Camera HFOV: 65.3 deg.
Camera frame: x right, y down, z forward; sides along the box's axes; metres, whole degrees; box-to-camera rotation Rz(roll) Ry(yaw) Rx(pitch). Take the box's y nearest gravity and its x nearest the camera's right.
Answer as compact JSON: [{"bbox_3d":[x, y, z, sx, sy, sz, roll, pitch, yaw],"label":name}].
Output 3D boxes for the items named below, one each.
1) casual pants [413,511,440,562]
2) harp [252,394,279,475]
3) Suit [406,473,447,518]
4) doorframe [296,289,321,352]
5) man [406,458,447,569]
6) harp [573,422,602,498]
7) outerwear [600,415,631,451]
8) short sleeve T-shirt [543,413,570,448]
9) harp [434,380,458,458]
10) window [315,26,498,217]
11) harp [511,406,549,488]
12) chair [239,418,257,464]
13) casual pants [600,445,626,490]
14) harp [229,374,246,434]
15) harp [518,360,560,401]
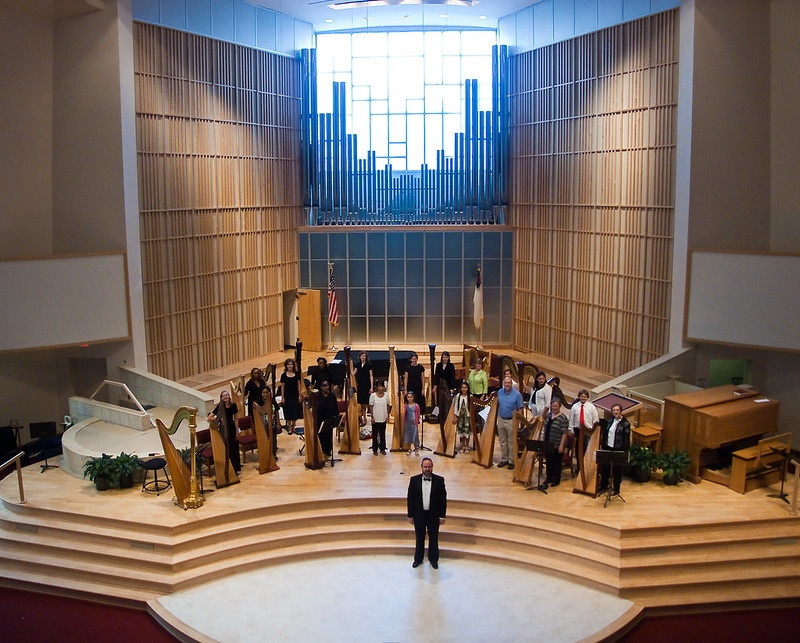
[{"bbox_3d":[0.381,2.946,8.705,0.362,1.290,0.308,2,26,0],"label":"casual pants"},{"bbox_3d":[-2.234,1.806,10.453,0.403,1.502,0.430,-8,20,-30],"label":"harp"},{"bbox_3d":[0.362,2.371,8.456,0.492,0.660,0.220,0,2,-6],"label":"Suit"},{"bbox_3d":[-2.659,-0.012,18.094,0.696,1.766,0.256,0,2,5],"label":"doorframe"},{"bbox_3d":[0.361,2.628,8.603,0.462,1.690,0.420,0,14,5],"label":"man"},{"bbox_3d":[2.921,2.153,9.721,0.389,1.098,0.300,1,2,30],"label":"harp"},{"bbox_3d":[3.287,1.722,9.530,0.293,0.640,0.493,12,-11,-41],"label":"outerwear"},{"bbox_3d":[2.444,1.716,9.742,0.239,0.501,0.423,2,1,-45],"label":"short sleeve T-shirt"},{"bbox_3d":[0.848,1.669,11.042,0.410,1.441,0.473,0,0,-11],"label":"harp"},{"bbox_3d":[0.284,-5.929,17.779,4.013,4.761,0.376,0,4,2],"label":"window"},{"bbox_3d":[2.052,2.080,10.113,0.569,1.209,0.581,11,-12,-35],"label":"harp"},{"bbox_3d":[-2.639,2.034,10.916,0.299,0.585,0.366,-14,17,-8],"label":"chair"},{"bbox_3d":[3.229,2.275,9.486,0.411,0.830,1.027,1,2,19],"label":"casual pants"},{"bbox_3d":[-2.898,1.377,11.209,0.267,0.879,0.142,-16,29,-36],"label":"harp"},{"bbox_3d":[2.808,1.214,12.660,0.525,0.904,0.651,-3,7,-2],"label":"harp"}]
